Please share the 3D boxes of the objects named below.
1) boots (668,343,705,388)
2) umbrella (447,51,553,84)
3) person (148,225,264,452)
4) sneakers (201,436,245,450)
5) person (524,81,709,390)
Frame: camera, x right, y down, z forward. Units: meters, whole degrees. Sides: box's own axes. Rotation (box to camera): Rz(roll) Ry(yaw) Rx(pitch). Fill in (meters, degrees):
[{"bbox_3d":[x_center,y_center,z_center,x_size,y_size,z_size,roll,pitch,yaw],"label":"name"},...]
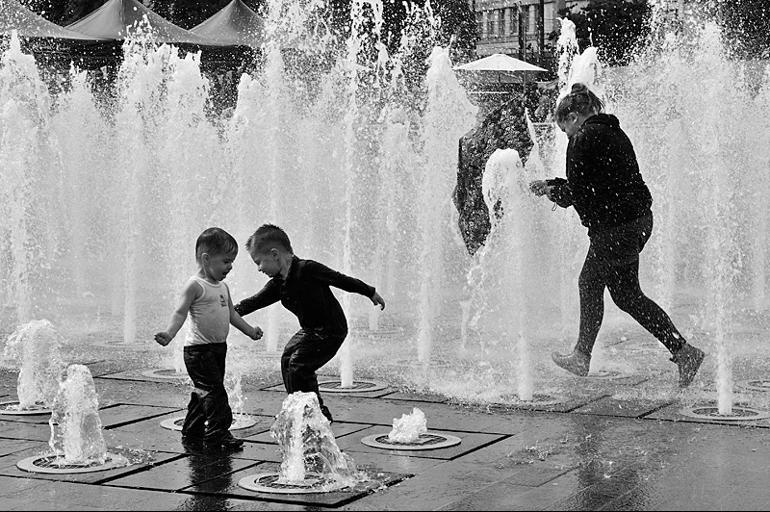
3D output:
[{"bbox_3d":[2.349,0.860,8.310,0.165,0.357,0.223,-3,2,-30],"label":"boots"},{"bbox_3d":[2.209,-4.001,22.564,1.615,0.548,1.560,-6,7,-26],"label":"umbrella"},{"bbox_3d":[-1.162,0.534,7.261,0.599,1.452,0.692,-2,2,-1],"label":"person"},{"bbox_3d":[-1.072,1.227,7.032,0.267,0.106,0.095,-1,-5,11],"label":"sneakers"},{"bbox_3d":[1.797,-0.060,8.532,1.186,2.170,0.417,-1,2,10],"label":"person"}]
